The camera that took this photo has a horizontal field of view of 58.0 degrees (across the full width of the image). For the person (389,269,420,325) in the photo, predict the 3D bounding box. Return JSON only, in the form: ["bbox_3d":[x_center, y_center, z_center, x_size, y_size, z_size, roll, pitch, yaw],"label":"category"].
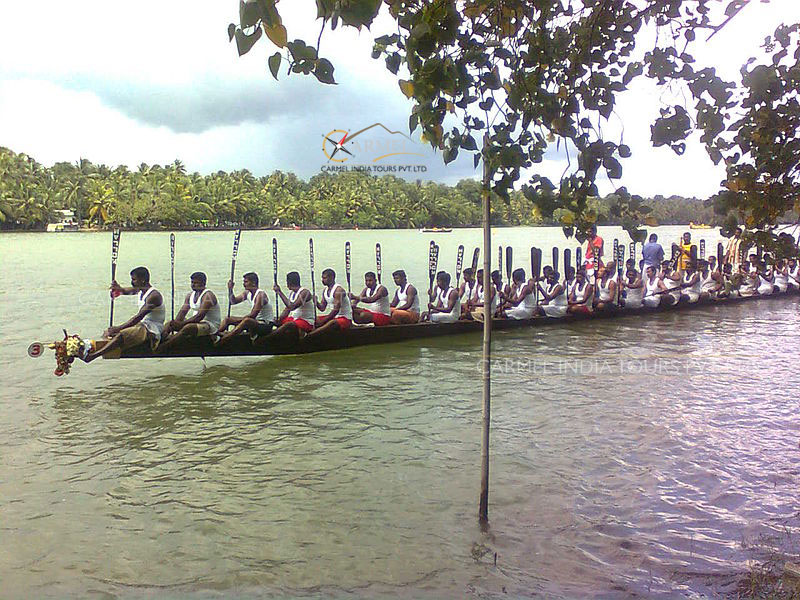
[{"bbox_3d":[0.041,0.062,17.562,0.917,1.578,0.861,2,2,11],"label":"person"}]

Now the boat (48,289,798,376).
[{"bbox_3d":[0.780,0.762,16.223,14.863,1.656,0.956,-3,11,-28],"label":"boat"}]

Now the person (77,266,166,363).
[{"bbox_3d":[-5.099,0.206,13.505,1.371,1.539,0.846,-6,14,-25],"label":"person"}]

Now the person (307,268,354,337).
[{"bbox_3d":[-1.518,0.034,16.106,1.020,1.361,1.221,-7,-1,7],"label":"person"}]

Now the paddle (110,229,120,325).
[{"bbox_3d":[-6.459,-0.696,16.417,0.201,0.084,2.323,-2,-28,-23],"label":"paddle"}]
